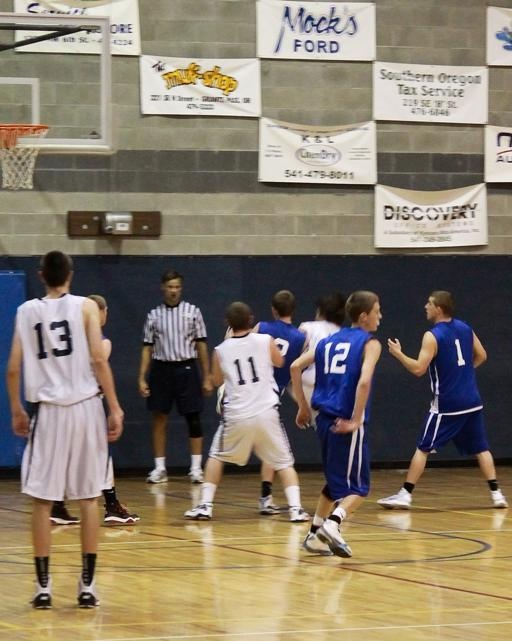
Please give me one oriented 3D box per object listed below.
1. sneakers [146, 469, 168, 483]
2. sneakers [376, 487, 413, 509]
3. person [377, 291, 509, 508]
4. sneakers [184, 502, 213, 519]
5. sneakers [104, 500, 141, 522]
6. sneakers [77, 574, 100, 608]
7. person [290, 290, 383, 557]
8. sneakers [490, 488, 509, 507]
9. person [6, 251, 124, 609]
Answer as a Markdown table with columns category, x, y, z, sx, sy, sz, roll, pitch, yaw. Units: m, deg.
| category | x | y | z | sx | sy | sz | roll | pitch | yaw |
| --- | --- | --- | --- | --- | --- | --- | --- | --- | --- |
| sneakers | -0.933 | 1.468 | 9.149 | 0.179 | 0.136 | 0.157 | 0 | 7 | -3 |
| sneakers | 1.060 | 1.351 | 7.329 | 0.334 | 0.191 | 0.111 | 5 | -6 | -2 |
| person | 1.479 | 0.666 | 7.423 | 1.025 | 1.759 | 1.039 | 1 | 8 | 7 |
| sneakers | -0.374 | 1.310 | 6.655 | 0.245 | 0.112 | 0.087 | 1 | -3 | 38 |
| sneakers | -0.916 | 1.306 | 6.565 | 0.295 | 0.158 | 0.103 | 0 | -5 | -11 |
| sneakers | -0.686 | 1.136 | 3.977 | 0.057 | 0.056 | 0.142 | 1 | -1 | -2 |
| person | 0.426 | 0.604 | 5.180 | 0.468 | 1.502 | 0.832 | 1 | 8 | 2 |
| sneakers | 1.870 | 1.382 | 7.413 | 0.084 | 0.083 | 0.208 | -6 | -19 | 5 |
| person | -0.830 | 0.453 | 4.076 | 0.492 | 1.460 | 0.457 | 4 | 9 | 25 |
